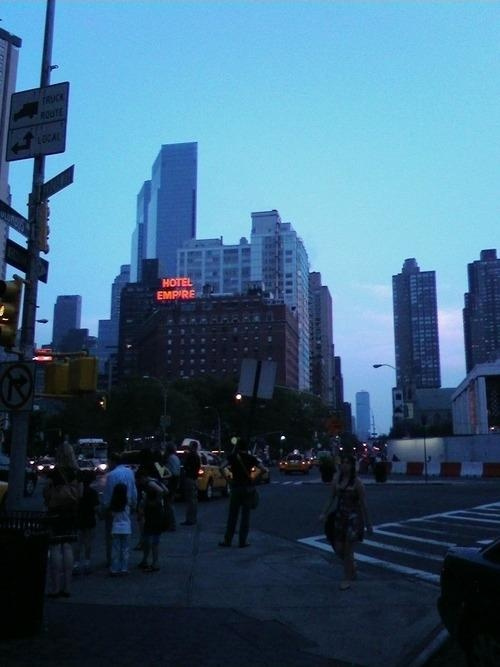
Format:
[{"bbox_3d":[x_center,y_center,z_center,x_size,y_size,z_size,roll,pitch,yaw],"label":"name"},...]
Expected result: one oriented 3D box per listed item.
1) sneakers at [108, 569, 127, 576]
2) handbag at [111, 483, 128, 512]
[{"bbox_3d":[-1.636,2.994,9.067,0.219,0.061,0.142,2,-6,-20],"label":"sneakers"},{"bbox_3d":[-1.637,2.068,9.096,0.250,0.353,0.193,8,-25,-16],"label":"handbag"}]
